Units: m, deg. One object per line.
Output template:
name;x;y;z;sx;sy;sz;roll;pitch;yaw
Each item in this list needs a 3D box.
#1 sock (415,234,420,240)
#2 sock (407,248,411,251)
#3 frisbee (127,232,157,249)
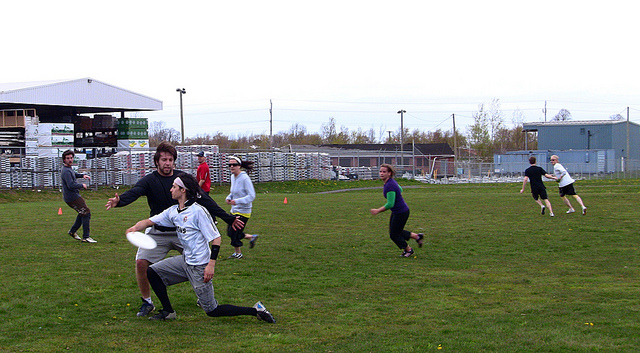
sock;2.945;1.859;20.629;0.122;0.173;0.209;0;4;39
sock;2.649;2.189;20.069;0.098;0.055;0.088;0;0;17
frisbee;-4.283;1.523;16.031;0.641;0.451;0.649;-2;3;-12
